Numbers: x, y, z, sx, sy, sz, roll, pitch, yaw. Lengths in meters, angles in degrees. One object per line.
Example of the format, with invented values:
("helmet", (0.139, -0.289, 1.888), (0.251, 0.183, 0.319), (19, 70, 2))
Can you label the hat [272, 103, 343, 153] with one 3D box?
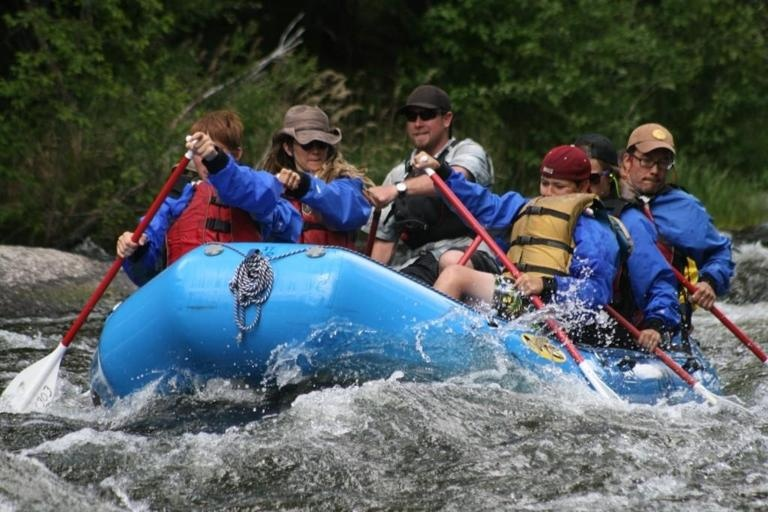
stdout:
("hat", (-0.667, -1.142, 11.778), (0.355, 0.269, 0.499), (2, -9, -17))

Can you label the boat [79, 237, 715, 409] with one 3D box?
("boat", (-0.173, 0.683, 11.095), (3.242, 0.680, 1.866), (13, -6, -27))

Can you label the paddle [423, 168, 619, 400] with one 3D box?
("paddle", (1.200, 0.316, 11.274), (2.535, 0.349, 0.182), (45, 34, 8))

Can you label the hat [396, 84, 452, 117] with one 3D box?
("hat", (0.403, -1.465, 12.250), (0.369, 0.191, 0.271), (13, -8, -34))
